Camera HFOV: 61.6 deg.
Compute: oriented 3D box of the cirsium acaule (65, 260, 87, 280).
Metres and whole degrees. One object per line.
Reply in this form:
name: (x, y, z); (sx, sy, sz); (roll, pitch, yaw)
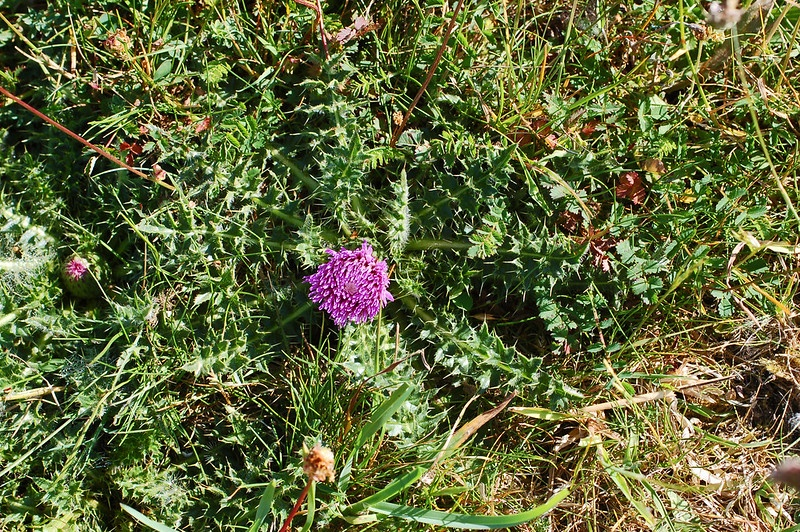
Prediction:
cirsium acaule: (-1.720, 0.016, 3.571); (0.112, 0.069, 0.093); (-24, 64, -11)
